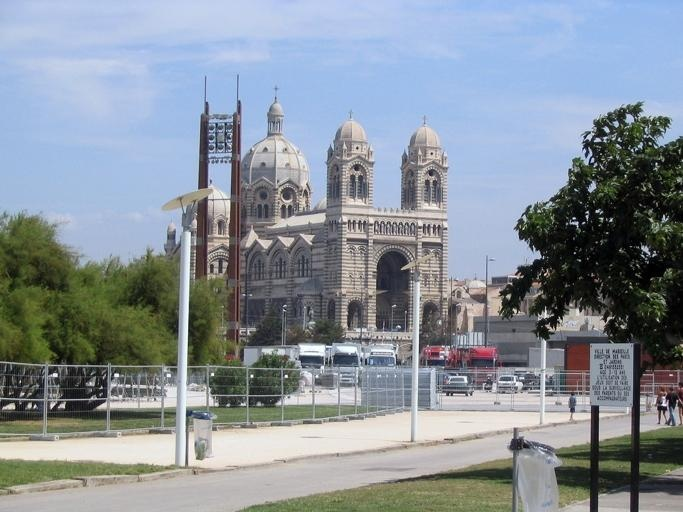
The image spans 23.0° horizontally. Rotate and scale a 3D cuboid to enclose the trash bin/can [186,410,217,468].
[{"bbox_3d":[-4.504,5.893,55.295,0.904,1.936,1.033,-1,-6,-42],"label":"trash bin/can"}]
